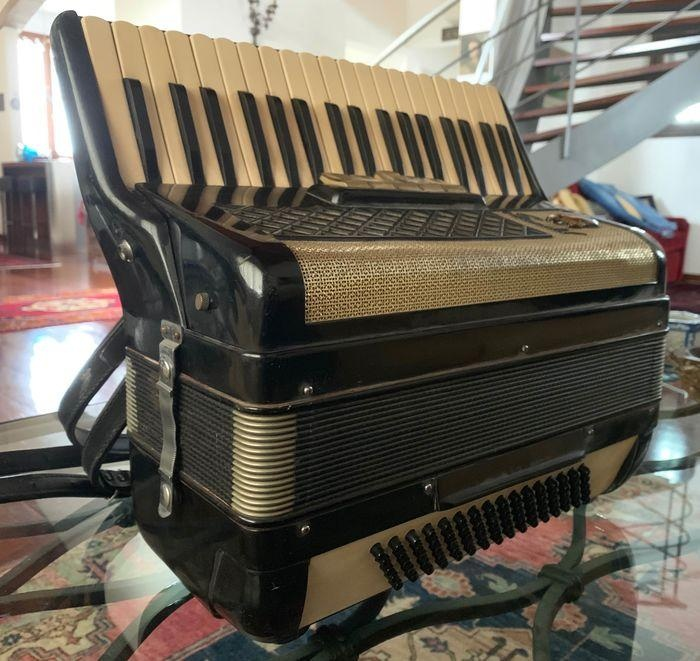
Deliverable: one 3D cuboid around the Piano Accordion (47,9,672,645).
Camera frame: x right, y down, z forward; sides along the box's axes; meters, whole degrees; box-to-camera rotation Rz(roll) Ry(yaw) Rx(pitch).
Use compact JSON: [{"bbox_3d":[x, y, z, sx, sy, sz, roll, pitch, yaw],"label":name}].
[{"bbox_3d":[0.037,-0.060,1.050,0.864,0.880,0.568,-15,21,-37],"label":"Piano Accordion"}]
